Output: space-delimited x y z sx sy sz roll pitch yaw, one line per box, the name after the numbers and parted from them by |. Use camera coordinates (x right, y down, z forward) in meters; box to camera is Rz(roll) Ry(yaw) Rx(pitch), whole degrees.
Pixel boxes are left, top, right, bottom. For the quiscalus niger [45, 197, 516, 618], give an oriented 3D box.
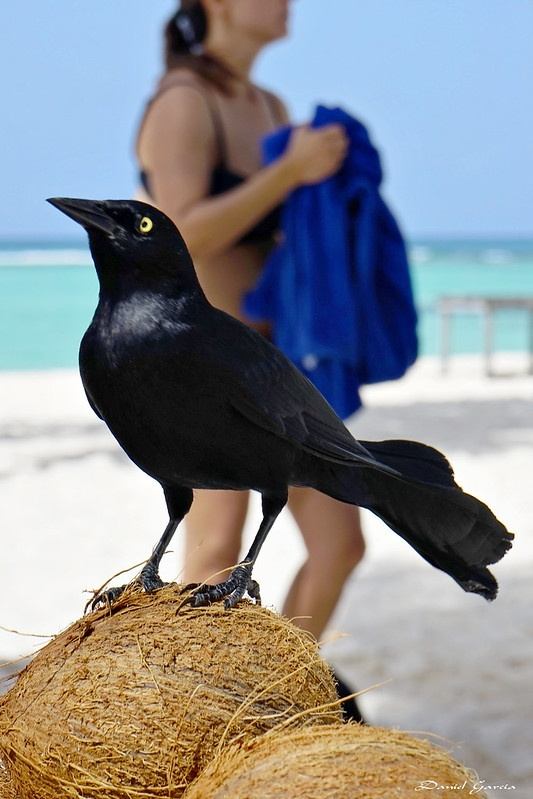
0.010 0.023 1.640 0.292 0.466 0.804 -2 -6 43 | quiscalus niger
